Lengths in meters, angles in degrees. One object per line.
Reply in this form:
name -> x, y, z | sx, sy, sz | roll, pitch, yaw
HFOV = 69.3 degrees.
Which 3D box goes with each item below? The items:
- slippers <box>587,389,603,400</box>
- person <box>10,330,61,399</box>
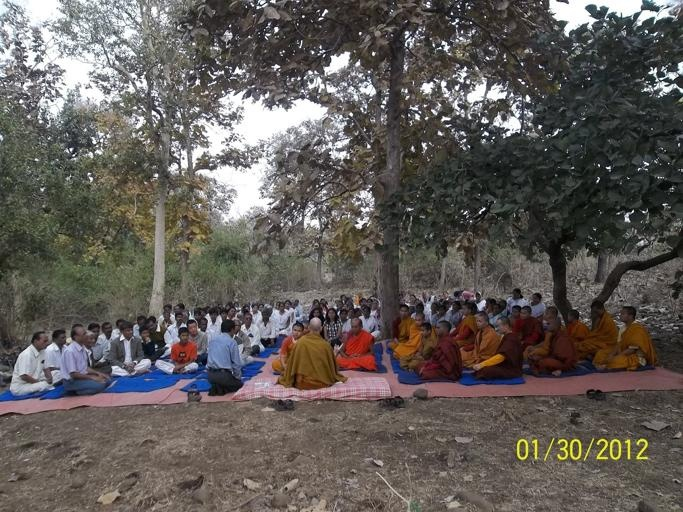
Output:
slippers -> 4.328, 2.362, 8.430 | 0.170, 0.055, 0.170 | -13, 11, -11
person -> -5.904, 2.096, 9.720 | 0.845, 1.269, 0.899 | -1, -1, 21
